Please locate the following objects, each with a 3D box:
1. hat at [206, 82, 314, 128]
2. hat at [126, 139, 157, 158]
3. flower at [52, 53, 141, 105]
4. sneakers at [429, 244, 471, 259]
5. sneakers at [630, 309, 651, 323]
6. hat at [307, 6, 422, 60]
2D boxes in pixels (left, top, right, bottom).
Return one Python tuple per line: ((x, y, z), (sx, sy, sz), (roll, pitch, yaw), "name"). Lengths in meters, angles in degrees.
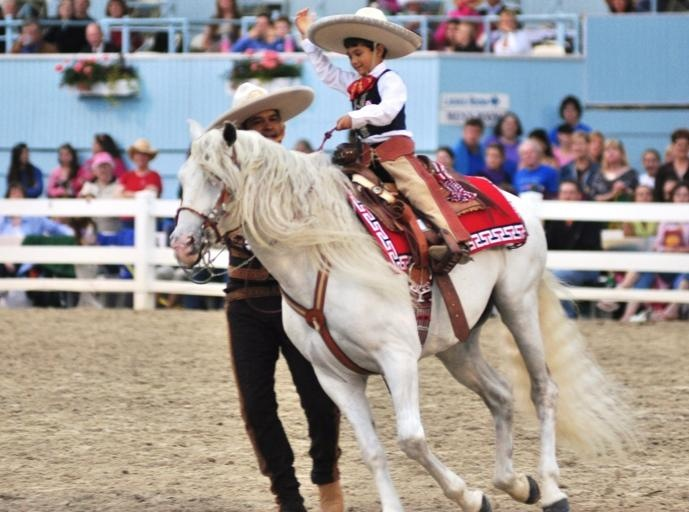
((-0.662, -1.306, 14.751), (0.567, 0.220, 0.509), (-28, -14, 0), "hat")
((-2.299, -1.252, 19.663), (0.276, 0.122, 0.234), (7, -13, 13), "hat")
((-3.116, -2.200, 20.569), (0.508, 0.350, 0.714), (12, -26, -11), "flower")
((0.874, -0.032, 14.382), (0.392, 0.107, 0.086), (5, -1, -21), "sneakers")
((3.128, 0.681, 18.659), (0.117, 0.082, 0.207), (2, -22, -36), "sneakers")
((0.105, -1.893, 14.674), (0.583, 0.162, 0.558), (24, -30, -37), "hat")
